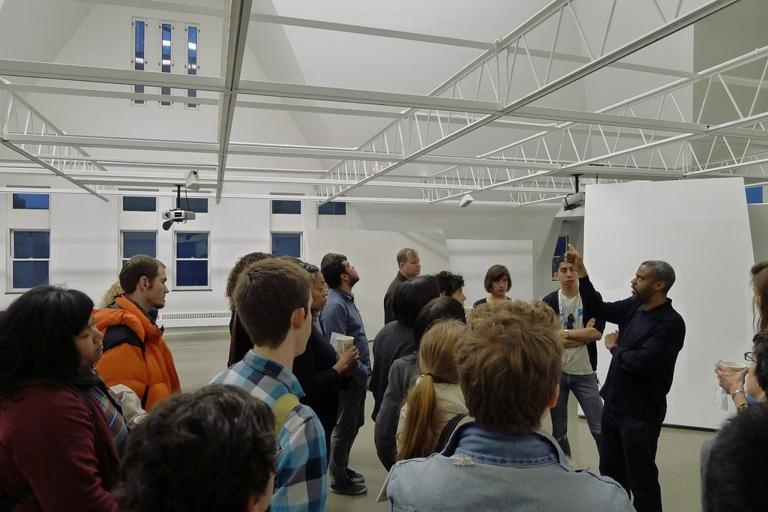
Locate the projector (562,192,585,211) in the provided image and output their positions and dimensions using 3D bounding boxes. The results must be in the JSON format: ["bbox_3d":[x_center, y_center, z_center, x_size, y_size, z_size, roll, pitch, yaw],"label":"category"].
[{"bbox_3d":[2.987,-0.872,8.243,0.274,0.277,0.577,0,-2,21],"label":"projector"}]

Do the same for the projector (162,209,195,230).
[{"bbox_3d":[-3.613,-0.665,9.281,0.543,0.304,0.565,-1,1,-4],"label":"projector"}]

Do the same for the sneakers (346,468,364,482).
[{"bbox_3d":[-0.261,2.115,5.095,0.194,0.077,0.075,-1,-1,28],"label":"sneakers"}]

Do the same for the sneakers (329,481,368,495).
[{"bbox_3d":[-0.316,2.172,4.974,0.309,0.134,0.130,0,-2,2],"label":"sneakers"}]

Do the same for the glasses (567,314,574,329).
[{"bbox_3d":[1.935,0.674,5.478,0.090,0.159,0.042,-1,-3,36],"label":"glasses"}]

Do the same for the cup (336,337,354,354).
[{"bbox_3d":[-0.295,0.681,4.006,0.107,0.086,0.103,1,3,0],"label":"cup"}]
